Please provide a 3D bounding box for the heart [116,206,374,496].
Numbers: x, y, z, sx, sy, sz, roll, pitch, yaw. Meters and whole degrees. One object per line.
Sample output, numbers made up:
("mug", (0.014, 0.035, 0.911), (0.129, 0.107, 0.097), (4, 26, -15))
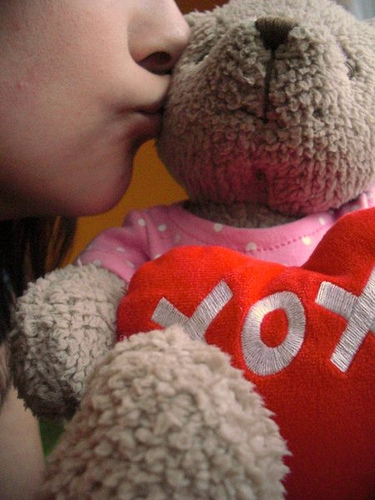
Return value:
("heart", (0.052, 0.080, 0.456), (0.232, 0.072, 0.221), (-8, 69, 5))
